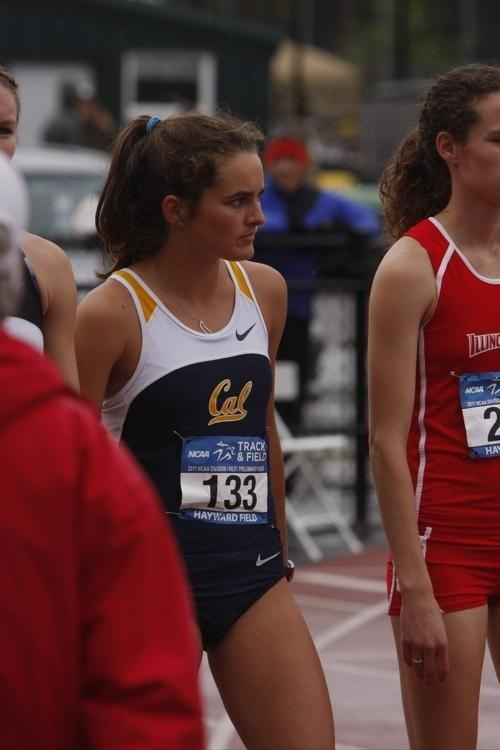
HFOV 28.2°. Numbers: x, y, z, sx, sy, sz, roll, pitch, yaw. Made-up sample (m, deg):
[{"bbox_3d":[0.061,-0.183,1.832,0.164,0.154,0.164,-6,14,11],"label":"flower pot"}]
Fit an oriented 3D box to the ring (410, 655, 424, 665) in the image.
[{"bbox_3d":[0.336,0.570,1.992,0.017,0.012,0.017,1,-3,0],"label":"ring"}]
